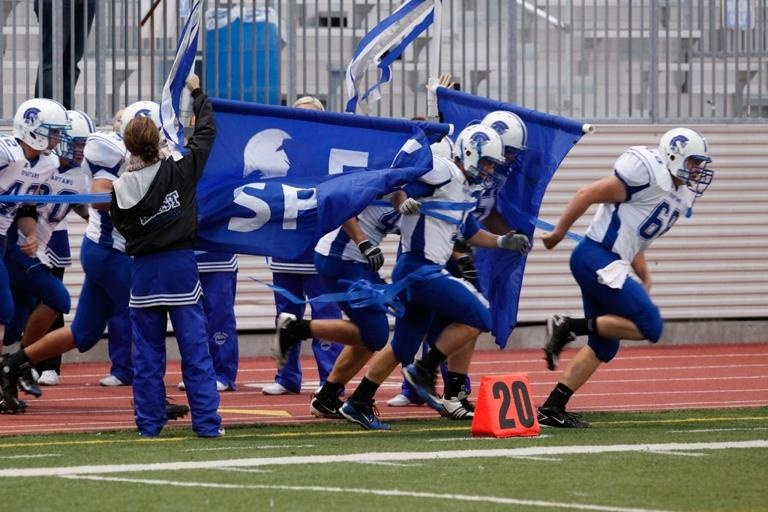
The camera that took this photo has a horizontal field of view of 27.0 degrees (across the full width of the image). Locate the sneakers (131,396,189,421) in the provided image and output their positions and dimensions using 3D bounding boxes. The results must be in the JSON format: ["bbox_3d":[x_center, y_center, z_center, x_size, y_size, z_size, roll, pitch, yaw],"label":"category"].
[{"bbox_3d":[-1.868,1.363,14.077,0.594,0.234,0.213,-9,-8,27],"label":"sneakers"}]

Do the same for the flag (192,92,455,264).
[{"bbox_3d":[-0.518,-0.641,13.800,1.827,0.906,0.242,5,-10,-5],"label":"flag"}]

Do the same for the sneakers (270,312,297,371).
[{"bbox_3d":[-0.855,0.758,14.107,0.225,0.476,0.178,23,13,26],"label":"sneakers"}]

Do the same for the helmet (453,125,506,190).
[{"bbox_3d":[0.813,-0.886,13.686,0.573,0.492,0.403,1,13,10],"label":"helmet"}]

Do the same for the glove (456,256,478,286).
[{"bbox_3d":[0.754,0.108,14.393,0.115,0.322,0.139,-33,19,10],"label":"glove"}]

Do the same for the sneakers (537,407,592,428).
[{"bbox_3d":[1.533,1.404,13.864,0.553,0.186,0.168,1,-1,2],"label":"sneakers"}]

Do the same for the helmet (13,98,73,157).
[{"bbox_3d":[-2.940,-1.206,14.372,0.567,0.406,0.395,0,17,0],"label":"helmet"}]

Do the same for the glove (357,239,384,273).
[{"bbox_3d":[-0.081,-0.016,13.614,0.121,0.281,0.172,-36,-1,40],"label":"glove"}]

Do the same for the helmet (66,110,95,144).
[{"bbox_3d":[-2.729,-1.185,14.472,0.325,0.243,0.220,-3,20,-17],"label":"helmet"}]

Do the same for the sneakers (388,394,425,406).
[{"bbox_3d":[0.218,1.359,14.960,0.350,0.120,0.117,6,-4,-6],"label":"sneakers"}]

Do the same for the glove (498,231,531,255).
[{"bbox_3d":[1.143,-0.115,13.938,0.272,0.205,0.290,4,5,9],"label":"glove"}]

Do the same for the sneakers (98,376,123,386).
[{"bbox_3d":[-2.668,1.247,15.850,0.211,0.092,0.085,-2,-11,-41],"label":"sneakers"}]

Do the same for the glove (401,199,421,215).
[{"bbox_3d":[0.233,-0.422,13.520,0.183,0.145,0.226,3,5,0],"label":"glove"}]

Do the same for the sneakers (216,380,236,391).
[{"bbox_3d":[-1.513,1.275,15.520,0.074,0.092,0.234,4,-1,23],"label":"sneakers"}]

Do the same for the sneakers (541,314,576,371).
[{"bbox_3d":[1.546,0.728,14.082,0.284,0.531,0.199,7,3,17],"label":"sneakers"}]

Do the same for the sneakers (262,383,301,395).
[{"bbox_3d":[-0.944,1.296,15.466,0.388,0.135,0.121,11,-4,-12],"label":"sneakers"}]

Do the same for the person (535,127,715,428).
[{"bbox_3d":[2.026,0.171,13.973,1.312,2.629,0.768,0,6,-35],"label":"person"}]

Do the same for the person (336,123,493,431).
[{"bbox_3d":[0.419,0.172,13.843,1.188,2.653,0.484,3,5,2],"label":"person"}]
